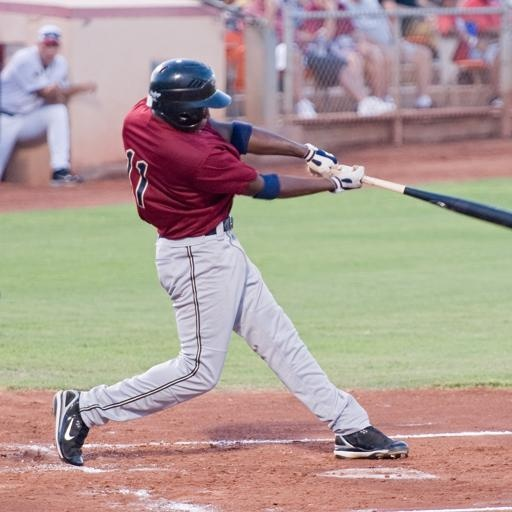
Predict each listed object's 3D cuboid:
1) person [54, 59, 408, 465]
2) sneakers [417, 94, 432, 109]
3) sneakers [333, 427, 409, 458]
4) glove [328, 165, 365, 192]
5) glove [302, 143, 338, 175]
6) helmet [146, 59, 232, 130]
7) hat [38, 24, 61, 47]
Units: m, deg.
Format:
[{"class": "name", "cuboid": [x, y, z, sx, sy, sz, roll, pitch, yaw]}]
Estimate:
[{"class": "person", "cuboid": [-0.160, 0.028, 4.350, 1.514, 1.788, 0.469, -3, 9, -9]}, {"class": "sneakers", "cuboid": [1.756, -1.603, 10.223, 0.196, 0.122, 0.155, 4, -8, -13]}, {"class": "sneakers", "cuboid": [0.536, 0.841, 4.419, 0.161, 0.116, 0.376, 0, -9, -45]}, {"class": "glove", "cuboid": [0.427, -0.361, 4.565, 0.225, 0.061, 0.126, 3, 23, -2]}, {"class": "glove", "cuboid": [0.290, -0.468, 4.767, 0.146, 0.172, 0.073, -37, -4, -22]}, {"class": "helmet", "cuboid": [-0.303, -0.701, 4.222, 0.437, 0.224, 0.241, 7, 29, -16]}, {"class": "hat", "cuboid": [-1.566, -1.682, 7.475, 0.172, 0.179, 0.245, -3, 7, -10]}]
